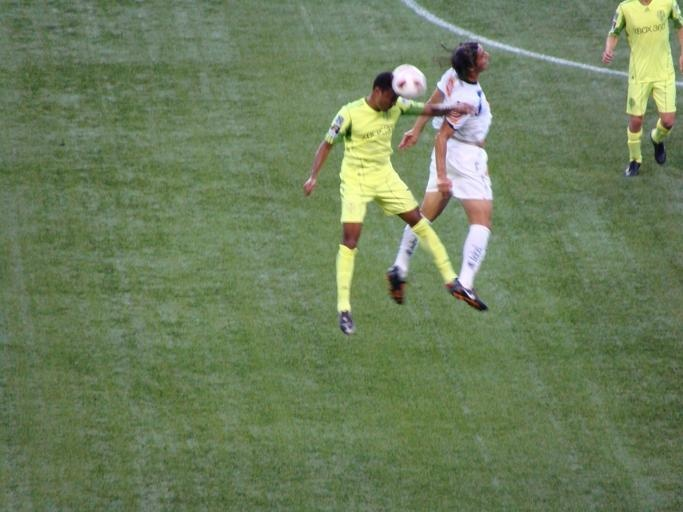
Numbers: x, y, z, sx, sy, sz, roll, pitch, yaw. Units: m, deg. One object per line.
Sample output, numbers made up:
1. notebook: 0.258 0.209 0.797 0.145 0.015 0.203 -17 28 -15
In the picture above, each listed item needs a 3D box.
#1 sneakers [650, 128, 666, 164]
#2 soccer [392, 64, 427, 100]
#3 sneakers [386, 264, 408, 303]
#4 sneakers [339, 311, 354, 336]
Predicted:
1. sneakers: 4.456 -1.484 17.474 0.176 0.552 0.224 -9 -3 6
2. soccer: 0.803 -2.062 14.934 0.331 0.423 0.228 -10 9 0
3. sneakers: 0.698 0.355 15.593 0.175 0.513 0.240 -2 21 11
4. sneakers: 0.059 0.850 15.383 0.127 0.142 0.326 -5 43 -9
